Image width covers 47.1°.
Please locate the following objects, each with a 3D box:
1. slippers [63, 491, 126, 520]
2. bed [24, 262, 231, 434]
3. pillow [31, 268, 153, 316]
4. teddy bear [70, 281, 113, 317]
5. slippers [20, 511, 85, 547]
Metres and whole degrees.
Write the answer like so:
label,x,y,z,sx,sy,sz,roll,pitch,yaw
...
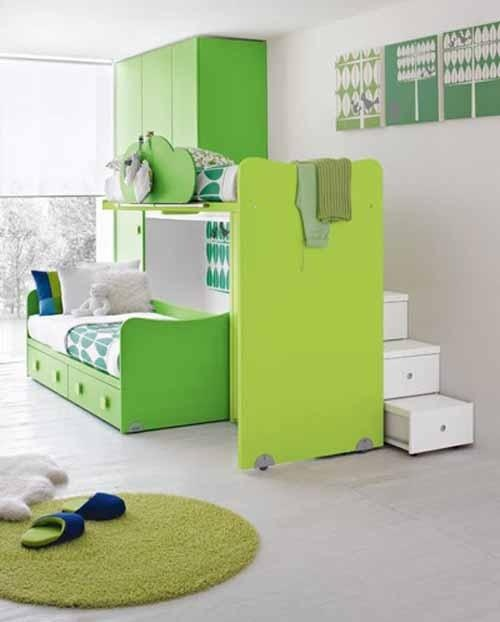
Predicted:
label,x,y,z,sx,sy,sz,roll,pitch,yaw
slippers,-0.562,0.691,2.061,0.174,0.061,0.100,0,7,14
bed,-0.851,0.169,3.929,0.830,0.811,1.462,-2,5,-31
pillow,-1.085,-0.121,4.344,0.533,0.203,0.500,-1,23,3
teddy bear,-1.167,-0.089,4.347,0.290,0.301,0.244,6,5,41
slippers,-0.622,0.685,1.825,0.084,0.049,0.145,7,8,30
